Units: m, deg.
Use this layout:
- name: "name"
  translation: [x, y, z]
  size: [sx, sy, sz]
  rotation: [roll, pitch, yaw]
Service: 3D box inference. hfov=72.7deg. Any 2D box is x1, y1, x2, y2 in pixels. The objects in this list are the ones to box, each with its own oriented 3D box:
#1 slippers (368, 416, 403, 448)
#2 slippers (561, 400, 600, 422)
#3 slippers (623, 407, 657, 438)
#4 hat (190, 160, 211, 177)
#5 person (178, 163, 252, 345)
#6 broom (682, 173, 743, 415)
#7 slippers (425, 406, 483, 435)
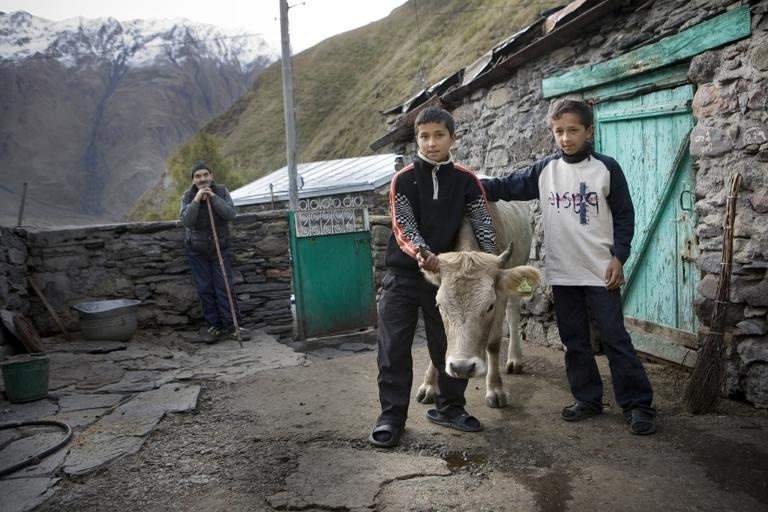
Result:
- name: "slippers"
  translation: [0.022, 1.571, 4.710]
  size: [0.308, 0.235, 0.216]
  rotation: [-3, 14, -3]
- name: "slippers"
  translation: [1.920, 1.513, 5.137]
  size: [0.371, 0.147, 0.170]
  rotation: [0, 0, -13]
- name: "slippers"
  translation: [2.341, 1.499, 4.756]
  size: [0.264, 0.196, 0.203]
  rotation: [3, 15, 21]
- name: "hat"
  translation: [-2.794, -1.304, 7.926]
  size: [0.266, 0.318, 0.173]
  rotation: [-3, 38, -16]
- name: "person"
  translation: [-2.623, -0.045, 7.992]
  size: [0.869, 2.695, 0.880]
  rotation: [-3, 15, -2]
- name: "broom"
  translation: [3.207, 0.410, 5.029]
  size: [0.311, 2.143, 0.790]
  rotation: [9, 19, 38]
- name: "slippers"
  translation: [0.652, 1.531, 4.995]
  size: [0.482, 0.151, 0.207]
  rotation: [3, 6, 39]
